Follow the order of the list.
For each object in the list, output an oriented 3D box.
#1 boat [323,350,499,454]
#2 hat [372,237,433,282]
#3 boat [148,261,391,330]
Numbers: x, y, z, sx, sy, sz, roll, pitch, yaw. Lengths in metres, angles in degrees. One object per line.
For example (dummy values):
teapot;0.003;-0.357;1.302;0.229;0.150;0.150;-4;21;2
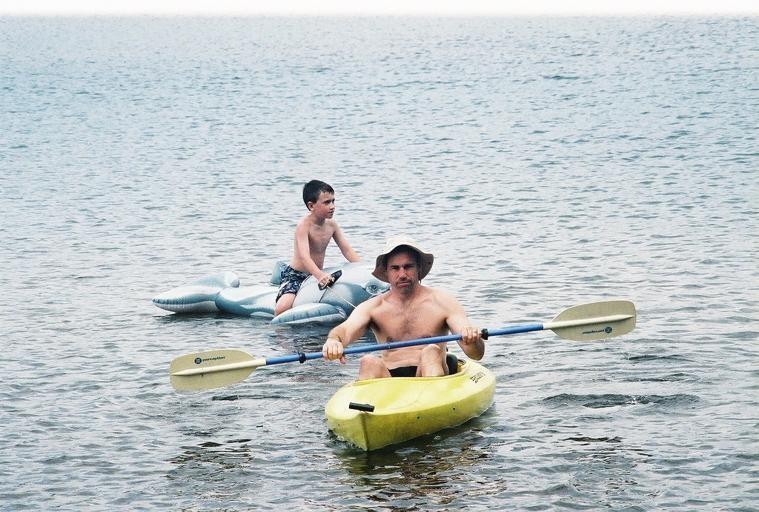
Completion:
boat;0.403;2.014;18.828;2.191;0.541;2.674;2;16;29
hat;0.323;-0.024;18.854;1.026;0.760;0.327;-2;52;-2
boat;-1.577;0.609;21.779;4.103;0.598;1.594;2;22;18
